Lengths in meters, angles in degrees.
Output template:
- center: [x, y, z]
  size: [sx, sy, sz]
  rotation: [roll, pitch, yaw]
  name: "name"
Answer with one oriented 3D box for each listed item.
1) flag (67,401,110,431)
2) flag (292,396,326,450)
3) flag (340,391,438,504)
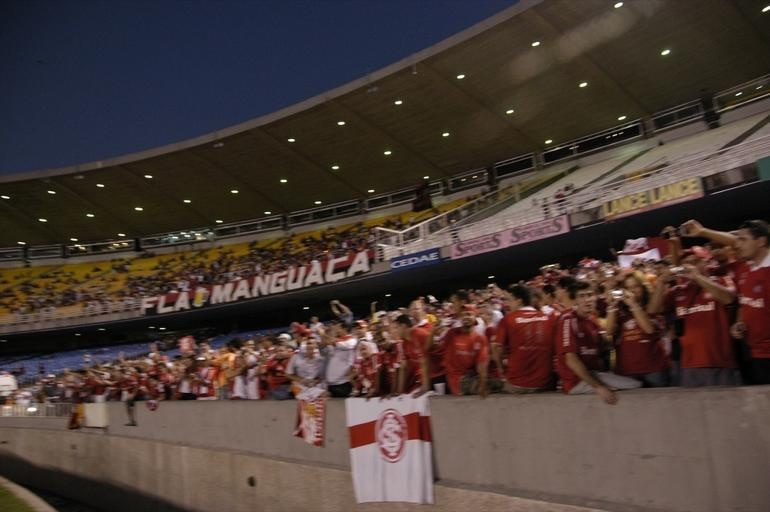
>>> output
- center: [-10.078, 5.478, 26.662]
  size: [1.745, 0.670, 0.763]
  rotation: [-3, -5, 24]
  name: "flag"
- center: [-2.025, 4.571, 21.713]
  size: [1.261, 1.409, 0.292]
  rotation: [-20, -20, 37]
  name: "flag"
- center: [0.194, 5.085, 20.613]
  size: [2.582, 2.846, 0.593]
  rotation: [-14, -19, 21]
  name: "flag"
